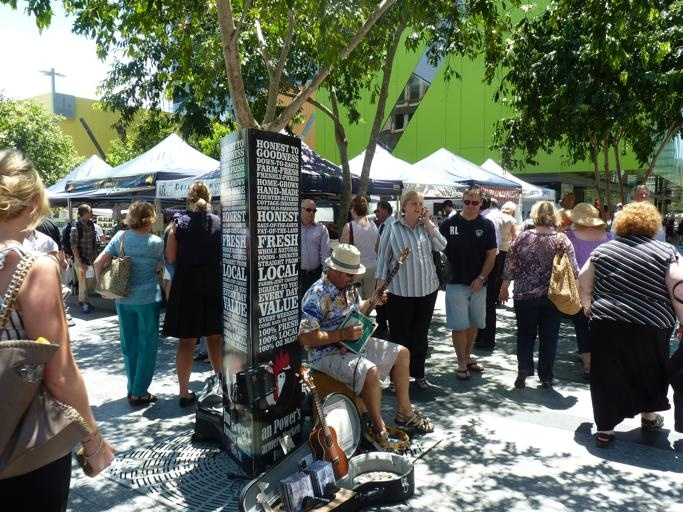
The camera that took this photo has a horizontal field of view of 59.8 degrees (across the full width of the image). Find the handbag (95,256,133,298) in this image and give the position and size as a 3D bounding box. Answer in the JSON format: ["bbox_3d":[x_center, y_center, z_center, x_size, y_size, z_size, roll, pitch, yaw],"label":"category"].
[{"bbox_3d":[-2.398,0.218,6.273,0.296,0.440,0.202,-7,-34,32],"label":"handbag"}]

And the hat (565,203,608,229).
[{"bbox_3d":[2.972,-0.475,7.248,0.279,0.136,0.363,12,27,-41],"label":"hat"}]

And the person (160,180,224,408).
[{"bbox_3d":[-1.619,0.413,6.443,0.625,2.341,0.525,-2,8,-15],"label":"person"}]

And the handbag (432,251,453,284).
[{"bbox_3d":[1.130,0.140,6.736,0.166,0.465,0.300,-16,-4,22],"label":"handbag"}]

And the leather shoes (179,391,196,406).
[{"bbox_3d":[-1.651,1.553,6.429,0.080,0.096,0.238,0,5,3],"label":"leather shoes"}]

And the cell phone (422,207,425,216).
[{"bbox_3d":[0.931,-0.511,6.758,0.021,0.078,0.052,5,1,11],"label":"cell phone"}]

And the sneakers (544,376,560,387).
[{"bbox_3d":[2.478,1.494,7.024,0.102,0.136,0.278,-7,-8,32],"label":"sneakers"}]

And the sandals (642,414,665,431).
[{"bbox_3d":[3.134,1.678,5.999,0.247,0.126,0.103,-8,5,-22],"label":"sandals"}]

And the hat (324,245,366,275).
[{"bbox_3d":[0.012,-0.022,5.383,0.277,0.167,0.278,24,16,36],"label":"hat"}]

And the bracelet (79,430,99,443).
[{"bbox_3d":[-1.390,0.998,3.293,0.066,0.066,0.089,0,-31,-39],"label":"bracelet"}]

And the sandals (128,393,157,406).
[{"bbox_3d":[-2.152,1.556,6.456,0.300,0.135,0.111,-2,11,-42],"label":"sandals"}]

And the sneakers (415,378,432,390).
[{"bbox_3d":[0.930,1.488,6.886,0.092,0.075,0.204,-1,-4,-1],"label":"sneakers"}]

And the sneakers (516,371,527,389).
[{"bbox_3d":[2.083,1.448,6.918,0.108,0.214,0.085,2,-10,7],"label":"sneakers"}]

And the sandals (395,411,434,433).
[{"bbox_3d":[0.710,1.609,5.828,0.325,0.169,0.187,1,7,14],"label":"sandals"}]

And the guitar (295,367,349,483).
[{"bbox_3d":[-0.124,1.346,4.812,0.347,0.849,0.374,-4,9,-26],"label":"guitar"}]
